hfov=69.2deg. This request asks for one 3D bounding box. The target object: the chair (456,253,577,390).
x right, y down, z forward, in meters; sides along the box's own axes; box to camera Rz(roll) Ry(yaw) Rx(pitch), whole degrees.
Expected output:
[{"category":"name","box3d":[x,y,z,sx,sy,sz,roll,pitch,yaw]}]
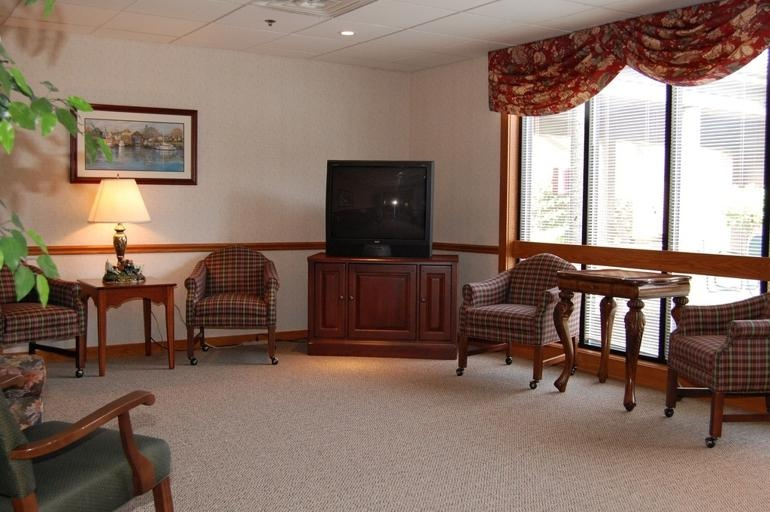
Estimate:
[{"category":"chair","box3d":[1.211,0.609,5.973,1.308,1.537,1.345,1,0,40]}]

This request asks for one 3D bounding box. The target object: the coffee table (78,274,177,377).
[{"category":"coffee table","box3d":[-2.608,0.733,5.892,1.018,0.997,1.089,2,-3,-32]}]

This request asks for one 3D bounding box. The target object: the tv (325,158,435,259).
[{"category":"tv","box3d":[-0.050,-0.548,6.389,1.209,1.040,0.416,0,-1,1]}]

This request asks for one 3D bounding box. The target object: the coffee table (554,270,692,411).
[{"category":"coffee table","box3d":[2.367,0.651,5.415,1.316,1.534,1.206,1,0,-41]}]

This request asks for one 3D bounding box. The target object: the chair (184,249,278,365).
[{"category":"chair","box3d":[-1.693,0.523,6.204,0.953,1.189,0.946,-2,9,-15]}]

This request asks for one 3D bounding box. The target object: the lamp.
[{"category":"lamp","box3d":[-2.757,-0.292,5.810,0.548,1.044,0.700,-4,10,-28]}]
